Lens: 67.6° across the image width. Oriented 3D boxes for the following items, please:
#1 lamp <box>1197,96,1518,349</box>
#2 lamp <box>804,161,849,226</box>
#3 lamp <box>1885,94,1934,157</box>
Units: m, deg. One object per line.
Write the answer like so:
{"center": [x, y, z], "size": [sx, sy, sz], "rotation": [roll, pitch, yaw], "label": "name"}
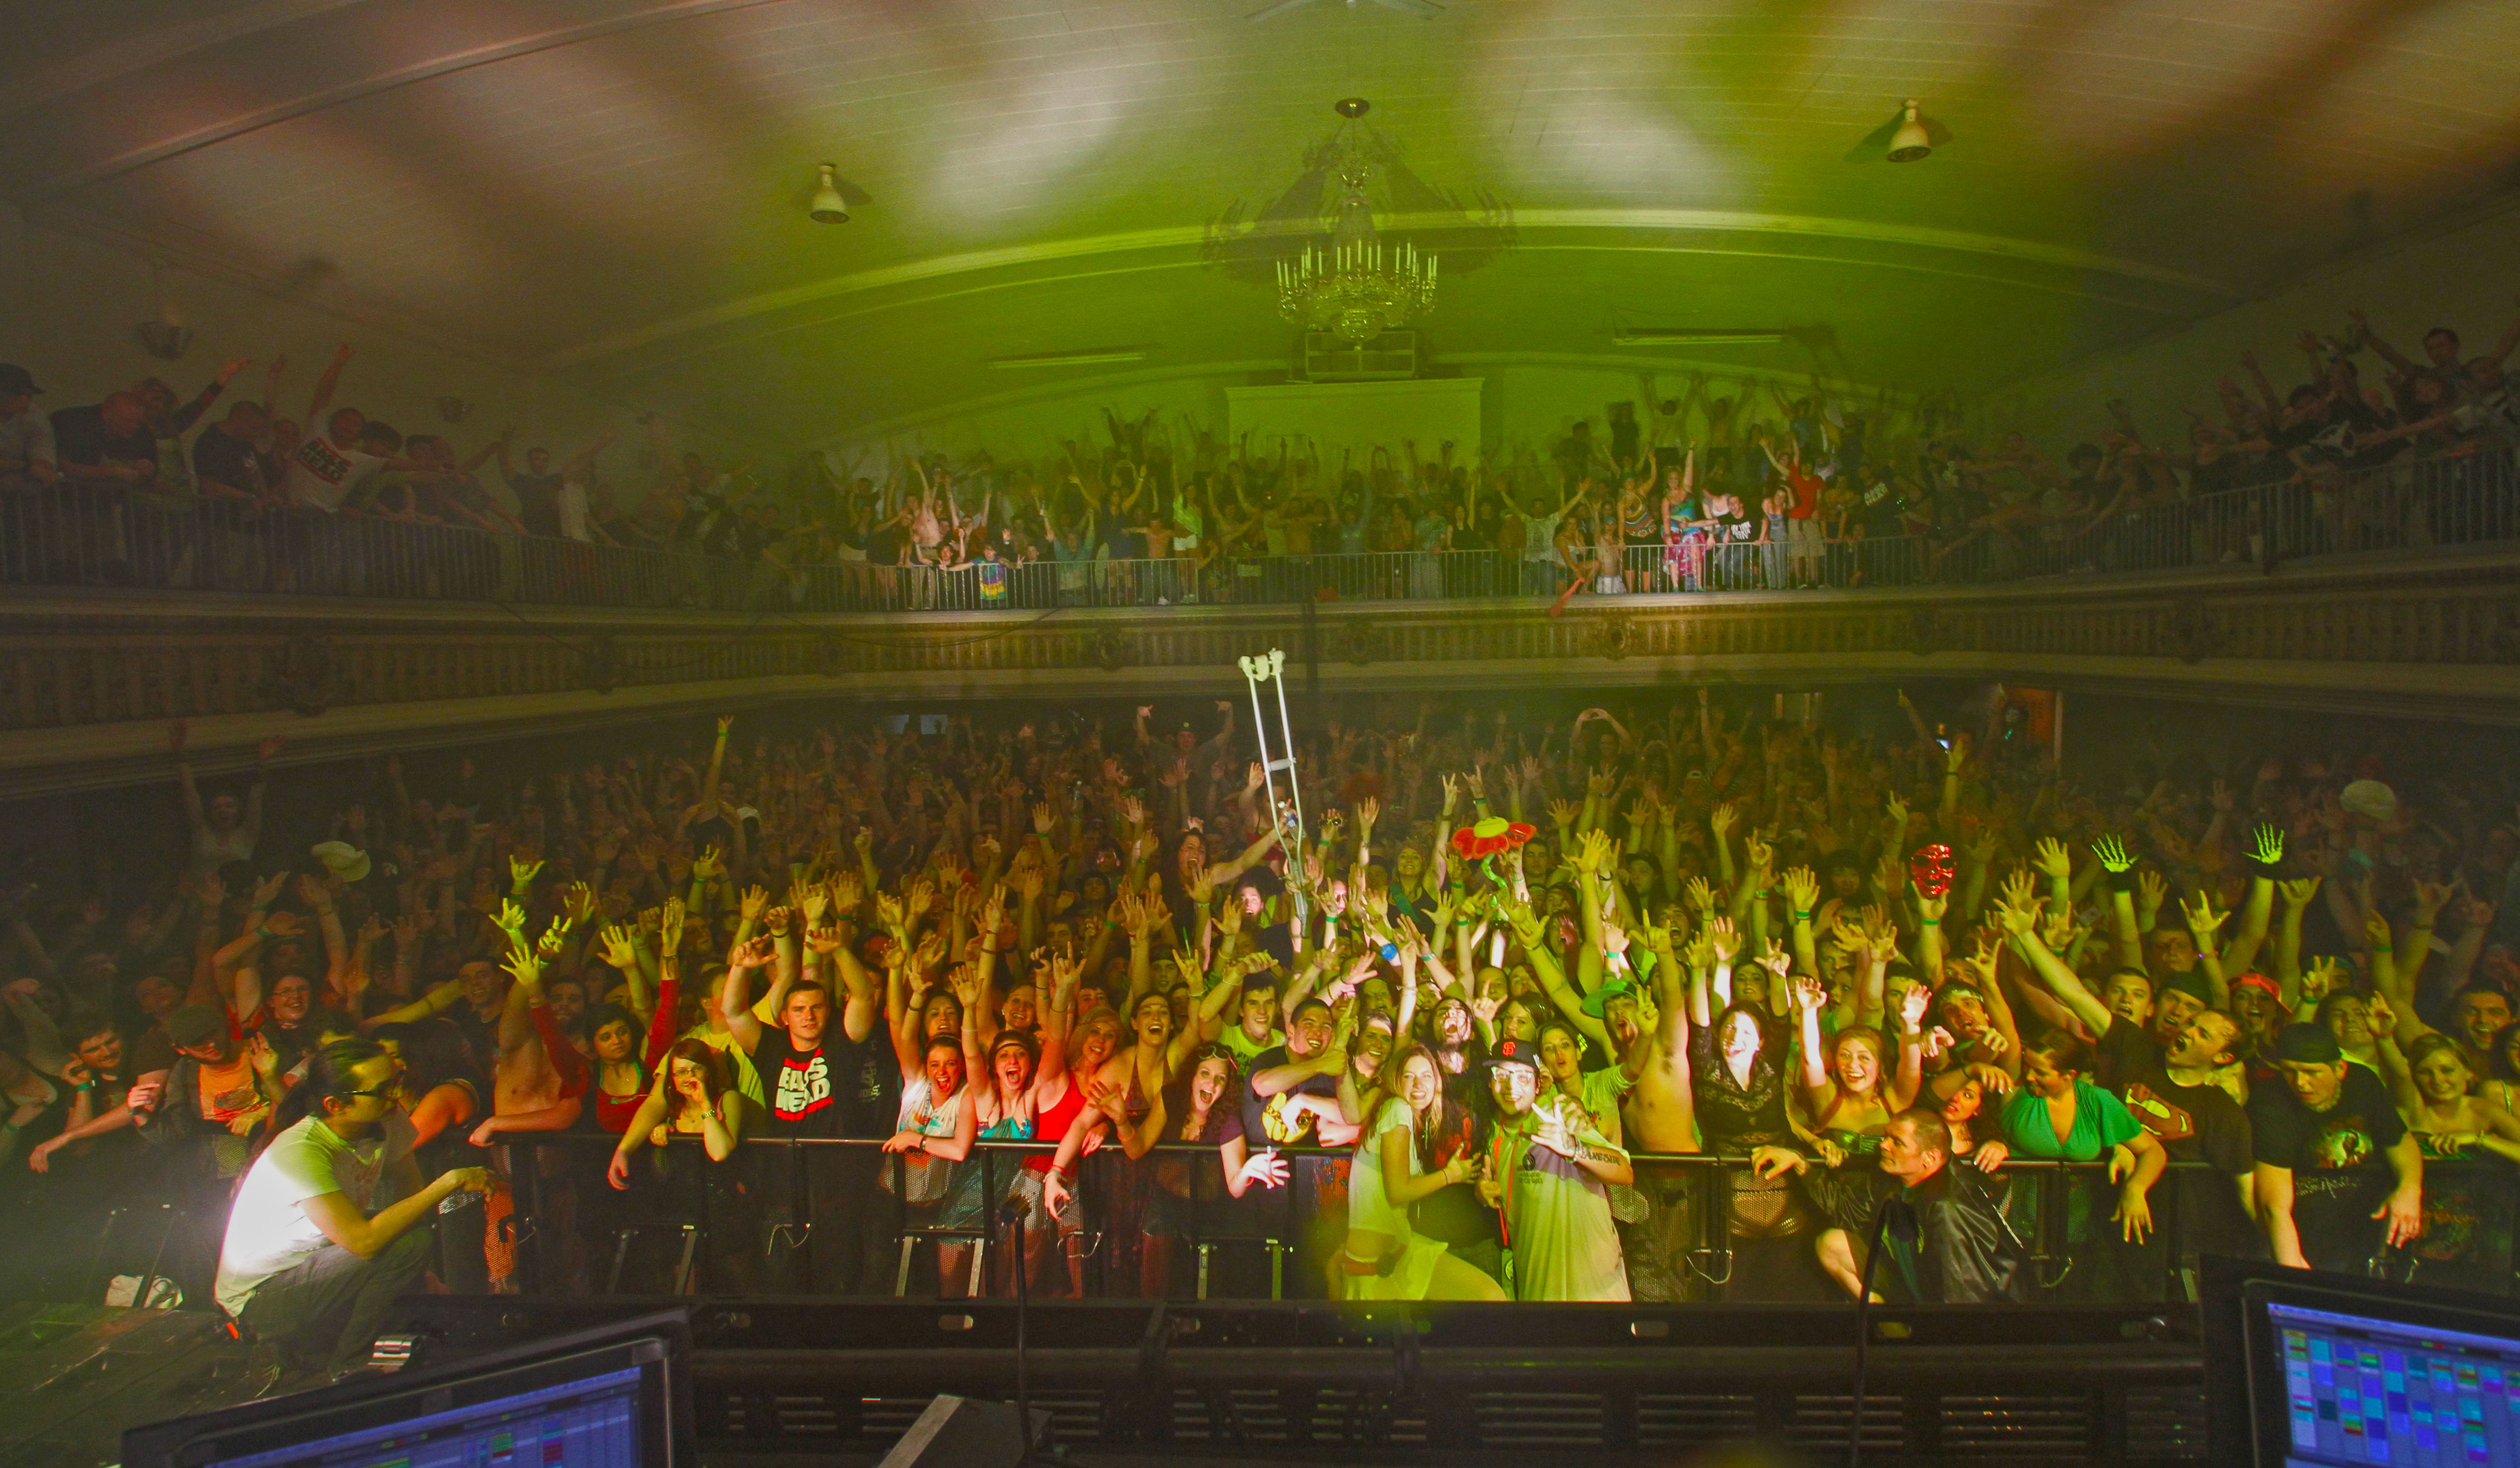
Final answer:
{"center": [0.558, -2.779, 10.535], "size": [1.249, 1.393, 0.342], "rotation": [-3, 36, 7], "label": "lamp"}
{"center": [-2.435, -3.000, 10.568], "size": [0.291, 0.211, 0.423], "rotation": [1, -8, -17], "label": "lamp"}
{"center": [3.488, -3.243, 10.140], "size": [0.333, 0.312, 0.246], "rotation": [0, 6, 8], "label": "lamp"}
